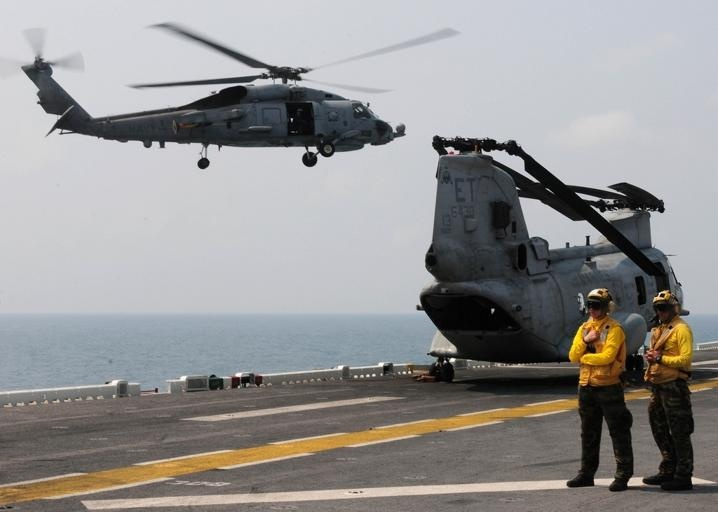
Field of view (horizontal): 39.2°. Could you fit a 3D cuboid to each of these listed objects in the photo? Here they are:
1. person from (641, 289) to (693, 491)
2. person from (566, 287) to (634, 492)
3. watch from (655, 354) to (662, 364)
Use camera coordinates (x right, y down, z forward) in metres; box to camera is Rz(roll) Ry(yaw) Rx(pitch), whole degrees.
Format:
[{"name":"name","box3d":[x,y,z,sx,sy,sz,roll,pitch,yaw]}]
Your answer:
[{"name":"person","box3d":[5.438,2.354,17.774,1.278,3.319,1.381,6,-11,-5]},{"name":"person","box3d":[4.230,2.305,17.570,1.016,3.477,0.823,-4,-11,11]},{"name":"watch","box3d":[5.207,1.775,17.398,0.097,0.102,0.107,-6,-17,21]}]
